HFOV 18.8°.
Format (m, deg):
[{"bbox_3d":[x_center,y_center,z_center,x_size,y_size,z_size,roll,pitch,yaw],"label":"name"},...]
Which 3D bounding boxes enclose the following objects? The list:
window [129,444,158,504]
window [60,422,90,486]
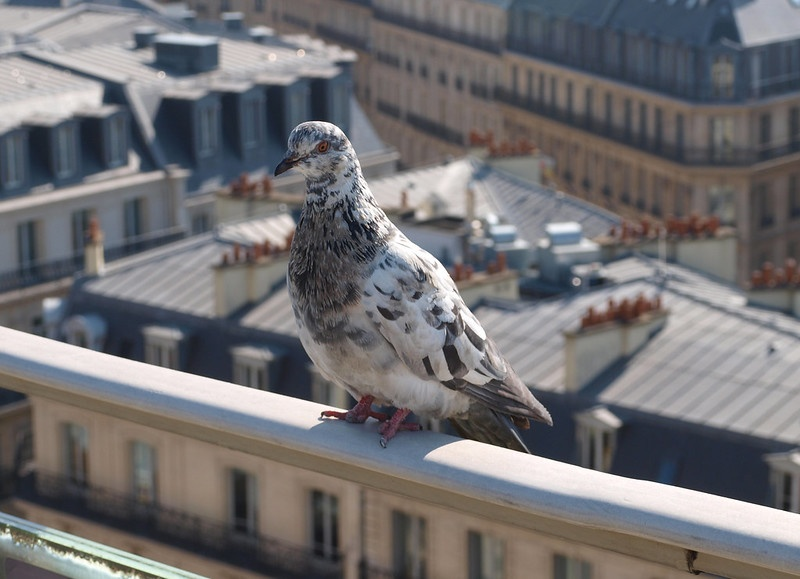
[{"bbox_3d":[-0.913,0.664,8.761,0.119,0.203,0.210,11,8,-11],"label":"window"},{"bbox_3d":[-1.156,0.589,8.742,0.116,0.196,0.159,11,8,-13],"label":"window"}]
